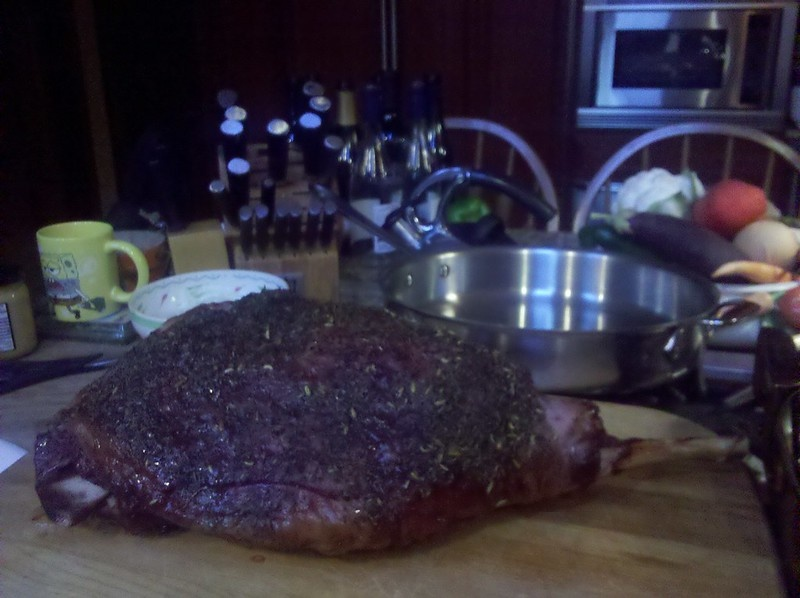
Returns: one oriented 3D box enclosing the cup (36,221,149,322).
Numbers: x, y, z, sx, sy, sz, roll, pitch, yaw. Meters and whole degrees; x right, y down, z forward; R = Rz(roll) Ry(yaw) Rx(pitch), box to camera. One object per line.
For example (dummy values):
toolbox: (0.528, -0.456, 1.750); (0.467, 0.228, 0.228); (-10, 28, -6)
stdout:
cup: (-0.561, -0.050, 1.268); (0.194, 0.154, 0.119); (2, 19, -5)

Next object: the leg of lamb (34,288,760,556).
leg of lamb: (-0.076, 0.160, 0.827); (0.603, 0.144, 0.314); (5, 29, 3)
